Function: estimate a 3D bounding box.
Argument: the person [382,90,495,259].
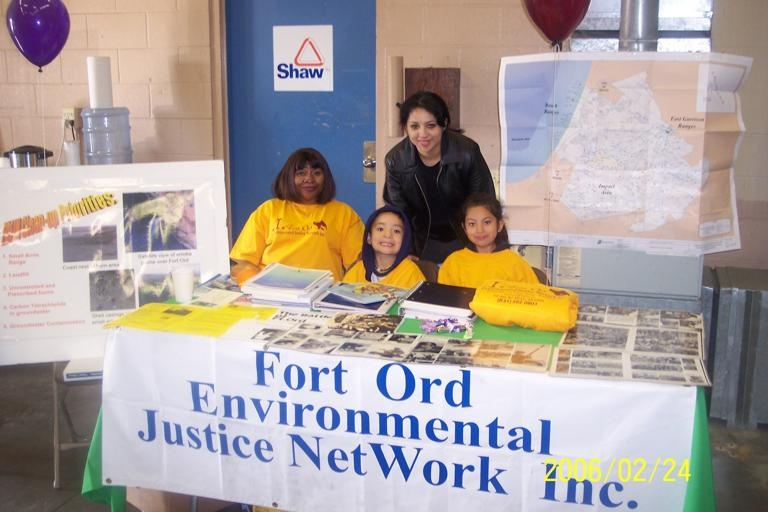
[{"bbox_3d":[0.278,-0.434,3.743,0.623,0.923,0.498,-3,33,14],"label":"person"}]

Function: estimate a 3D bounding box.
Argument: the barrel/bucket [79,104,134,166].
[{"bbox_3d":[-1.892,-0.782,4.553,0.326,0.463,0.312,1,14,0],"label":"barrel/bucket"}]

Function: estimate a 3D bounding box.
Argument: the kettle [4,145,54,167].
[{"bbox_3d":[-2.453,-0.687,4.543,0.230,0.131,0.150,-6,11,-35],"label":"kettle"}]

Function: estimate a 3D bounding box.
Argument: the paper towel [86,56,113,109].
[{"bbox_3d":[-1.872,-1.146,4.364,0.132,0.327,0.160,-4,10,-27],"label":"paper towel"}]

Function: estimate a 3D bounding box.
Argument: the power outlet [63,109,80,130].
[{"bbox_3d":[-2.333,-1.032,4.934,0.147,0.145,0.089,0,9,-5],"label":"power outlet"}]

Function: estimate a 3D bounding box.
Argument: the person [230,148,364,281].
[{"bbox_3d":[-0.480,-0.259,3.918,0.873,0.760,0.469,2,10,-6],"label":"person"}]
